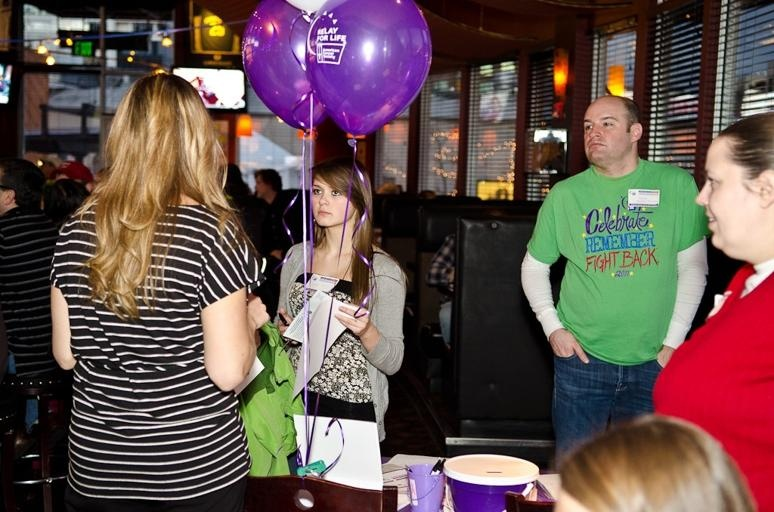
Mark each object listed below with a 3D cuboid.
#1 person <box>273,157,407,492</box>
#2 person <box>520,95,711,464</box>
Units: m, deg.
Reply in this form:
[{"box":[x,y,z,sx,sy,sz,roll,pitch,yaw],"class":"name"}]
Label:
[{"box":[-0.192,0.187,2.600,0.560,1.165,0.676,-2,7,-33],"class":"person"},{"box":[1.022,0.386,2.824,0.677,2.168,0.484,-5,20,9],"class":"person"}]
